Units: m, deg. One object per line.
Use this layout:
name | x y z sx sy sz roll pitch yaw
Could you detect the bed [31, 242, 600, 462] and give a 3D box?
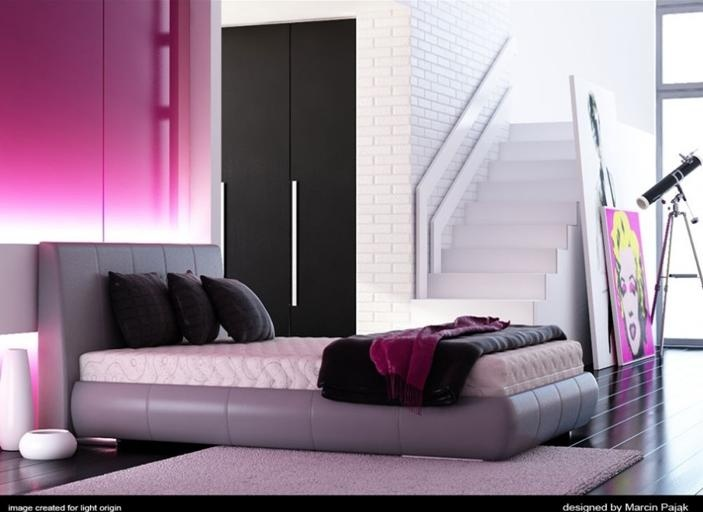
bed | -0.208 0.505 3.334 3.066 1.152 1.668 4 9 26
